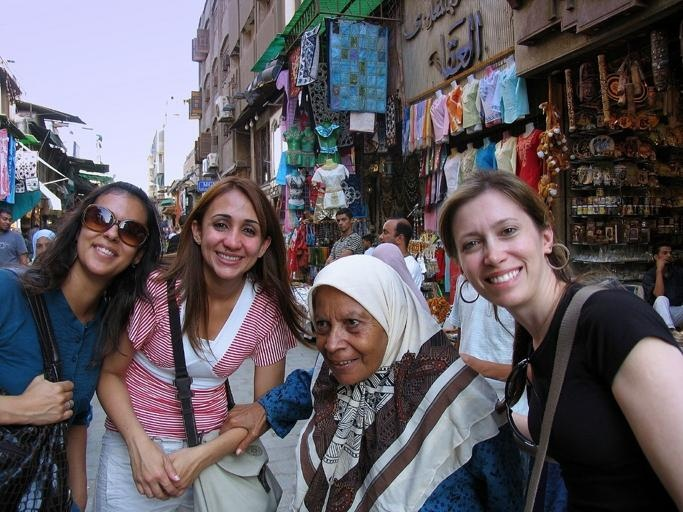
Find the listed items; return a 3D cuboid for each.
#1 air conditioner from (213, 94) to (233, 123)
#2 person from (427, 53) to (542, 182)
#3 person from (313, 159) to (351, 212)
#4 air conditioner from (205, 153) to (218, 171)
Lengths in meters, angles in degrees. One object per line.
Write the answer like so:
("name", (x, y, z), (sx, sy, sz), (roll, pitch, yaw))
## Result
("air conditioner", (-4.420, -5.617, 21.137), (0.528, 1.083, 1.867), (-2, 1, -17))
("person", (1.608, -1.529, 6.534), (0.279, 1.255, 1.306), (-6, -1, -39))
("person", (-0.156, -1.304, 9.862), (0.625, 0.949, 0.282), (-5, 30, 7))
("air conditioner", (-6.160, -4.648, 26.538), (0.537, 0.845, 1.045), (-2, 4, -17))
